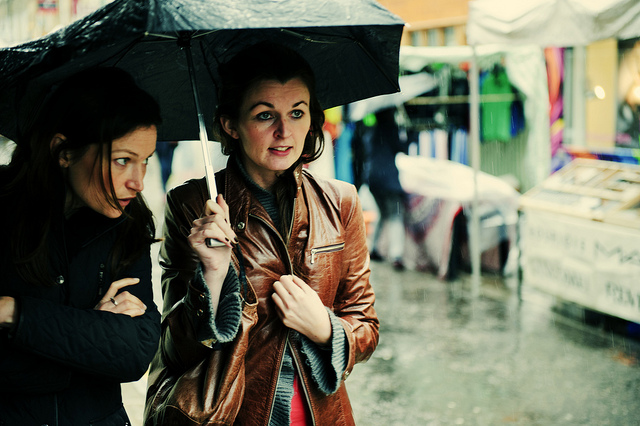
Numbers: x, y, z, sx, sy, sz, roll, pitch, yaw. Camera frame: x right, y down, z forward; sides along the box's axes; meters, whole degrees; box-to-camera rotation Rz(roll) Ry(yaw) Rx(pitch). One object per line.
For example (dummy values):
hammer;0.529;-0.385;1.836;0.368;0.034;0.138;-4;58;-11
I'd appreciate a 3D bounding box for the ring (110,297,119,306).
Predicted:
ring;-1.202;0.512;4.014;0.042;0.011;0.034;49;-6;8

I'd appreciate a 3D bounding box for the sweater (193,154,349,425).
sweater;-0.260;0.451;3.963;0.849;1.483;0.319;-3;1;-16
